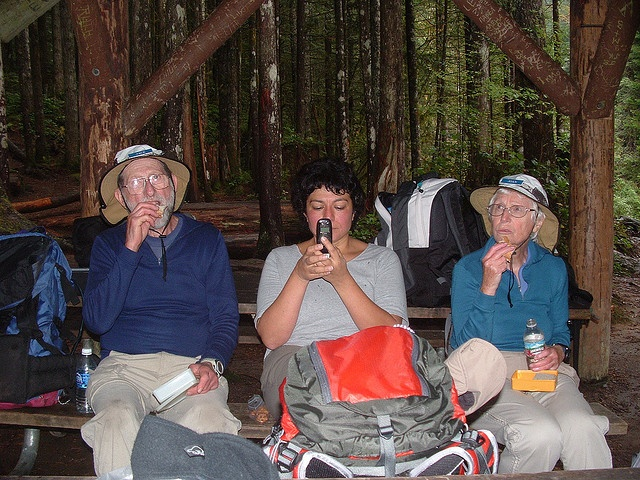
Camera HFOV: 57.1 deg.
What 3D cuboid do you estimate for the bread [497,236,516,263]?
[{"bbox_3d":[1.395,0.072,4.469,0.128,0.188,0.170,18,10,39],"label":"bread"}]

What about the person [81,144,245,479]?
[{"bbox_3d":[-1.221,0.378,4.501,1.164,2.542,1.342,-3,0,-9],"label":"person"}]

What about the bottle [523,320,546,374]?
[{"bbox_3d":[1.591,0.764,4.400,0.136,0.343,0.306,-3,0,19],"label":"bottle"}]
